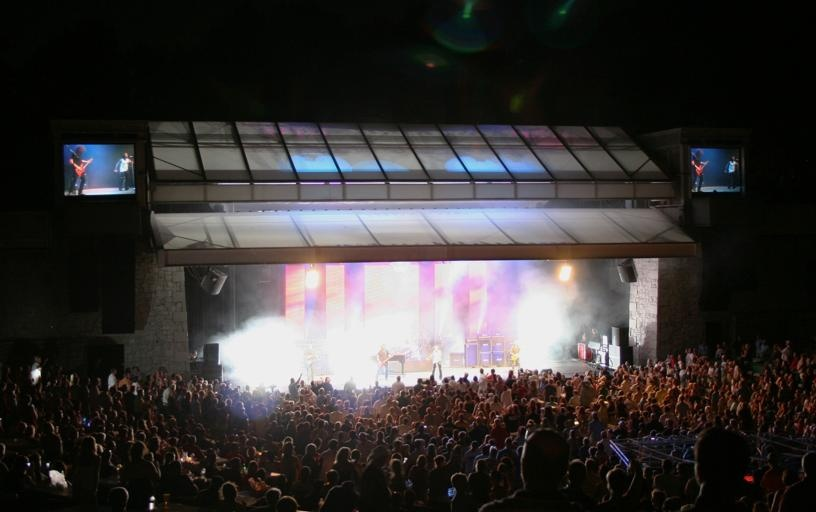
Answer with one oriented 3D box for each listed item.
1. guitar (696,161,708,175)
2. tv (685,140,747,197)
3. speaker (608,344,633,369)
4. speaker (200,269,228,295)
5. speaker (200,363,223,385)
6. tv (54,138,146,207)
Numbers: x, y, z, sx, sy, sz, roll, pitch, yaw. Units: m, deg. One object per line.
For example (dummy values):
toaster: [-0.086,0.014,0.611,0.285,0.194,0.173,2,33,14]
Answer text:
guitar: [13.593,-4.080,41.829,0.535,0.602,0.194,5,-11,5]
tv: [14.295,-4.009,41.791,2.994,2.382,0.382,0,-8,-2]
speaker: [10.515,4.916,44.256,0.754,1.209,1.340,2,0,-18]
speaker: [-8.458,1.055,38.898,0.925,1.058,0.392,-2,-10,9]
speaker: [-9.141,5.464,41.722,0.997,1.059,0.937,2,-4,-7]
tv: [-12.979,-3.447,37.291,3.202,2.100,0.137,-1,-7,-8]
